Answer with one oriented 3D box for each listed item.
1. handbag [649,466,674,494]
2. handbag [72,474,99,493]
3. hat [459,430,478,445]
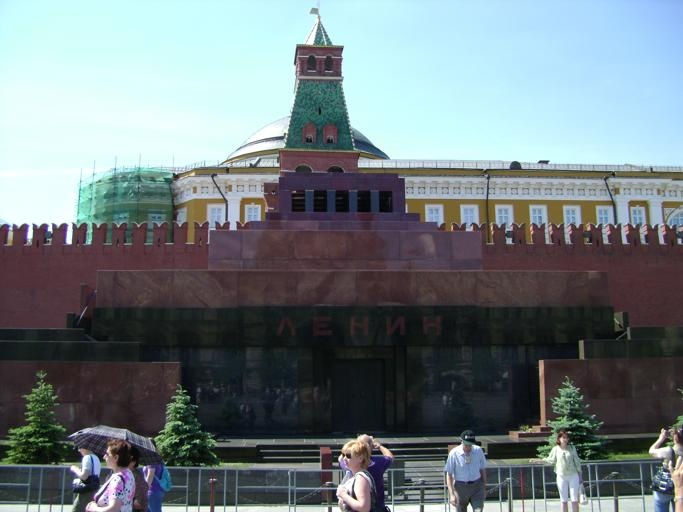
[{"bbox_3d":[7.249,5.130,23.121,0.266,0.604,0.558,8,-16,-35],"label":"handbag"},{"bbox_3d":[-5.444,4.951,21.953,0.512,0.526,0.326,0,-11,-3],"label":"handbag"},{"bbox_3d":[2.905,4.145,23.499,0.521,0.380,0.676,4,-8,-4],"label":"hat"}]
